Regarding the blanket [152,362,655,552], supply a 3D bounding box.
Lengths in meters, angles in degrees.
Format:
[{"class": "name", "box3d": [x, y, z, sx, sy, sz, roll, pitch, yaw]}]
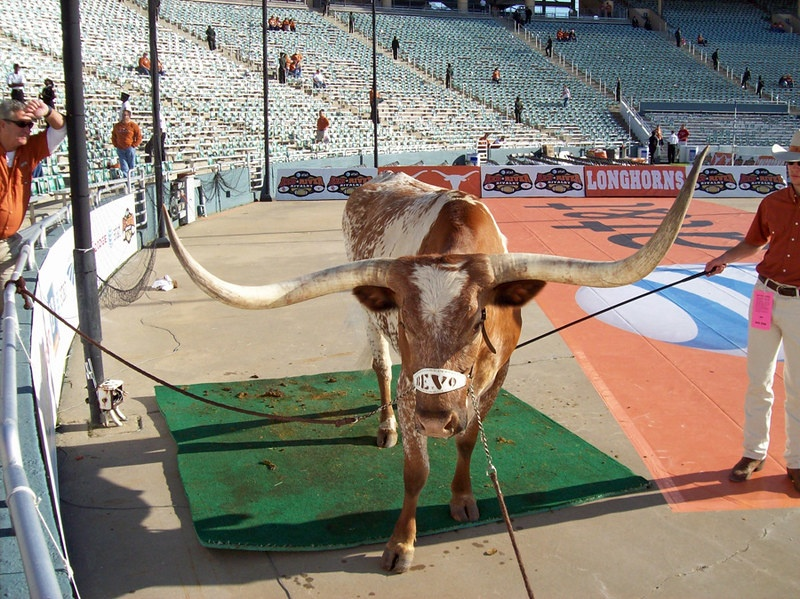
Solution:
[{"class": "blanket", "box3d": [-0.289, 1.445, 6.104, 2.126, 0.140, 2.041, -4, 14, -25]}]

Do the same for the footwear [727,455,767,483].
[{"class": "footwear", "box3d": [3.148, 1.506, 6.114, 0.474, 0.154, 0.150, -4, 1, -23]}]

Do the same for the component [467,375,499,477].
[{"class": "component", "box3d": [0.672, 1.061, 5.663, 0.163, 1.140, 0.046, -15, 22, 3]}]

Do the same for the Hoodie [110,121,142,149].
[{"class": "Hoodie", "box3d": [-6.702, -4.049, 16.932, 0.586, 0.706, 0.564, -12, 28, -30]}]

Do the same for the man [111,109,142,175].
[{"class": "man", "box3d": [-6.771, -3.742, 17.050, 0.863, 1.593, 0.432, 3, 17, -1]}]

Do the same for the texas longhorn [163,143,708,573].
[{"class": "texas longhorn", "box3d": [0.011, 0.061, 6.389, 3.349, 2.179, 3.724, -5, 21, -4]}]
